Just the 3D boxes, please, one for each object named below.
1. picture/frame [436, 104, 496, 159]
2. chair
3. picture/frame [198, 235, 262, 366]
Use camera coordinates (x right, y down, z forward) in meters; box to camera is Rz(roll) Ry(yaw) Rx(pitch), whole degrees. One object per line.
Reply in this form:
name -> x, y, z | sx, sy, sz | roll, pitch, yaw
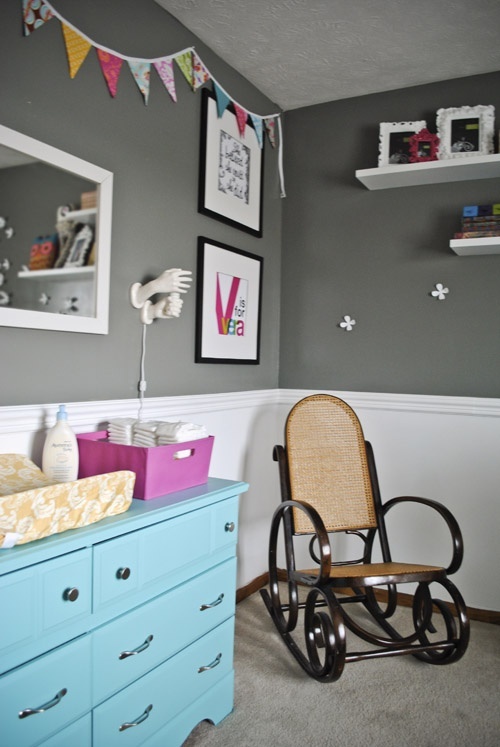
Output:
picture/frame -> 0.923, -1.017, 2.474 | 0.295, 0.299, 0.056 | 0, -6, 23
chair -> 0.455, 0.605, 2.257 | 0.750, 1.090, 1.020 | 1, 0, -11
picture/frame -> -0.097, -0.315, 2.507 | 0.040, 0.561, 0.601 | 2, -1, 22
